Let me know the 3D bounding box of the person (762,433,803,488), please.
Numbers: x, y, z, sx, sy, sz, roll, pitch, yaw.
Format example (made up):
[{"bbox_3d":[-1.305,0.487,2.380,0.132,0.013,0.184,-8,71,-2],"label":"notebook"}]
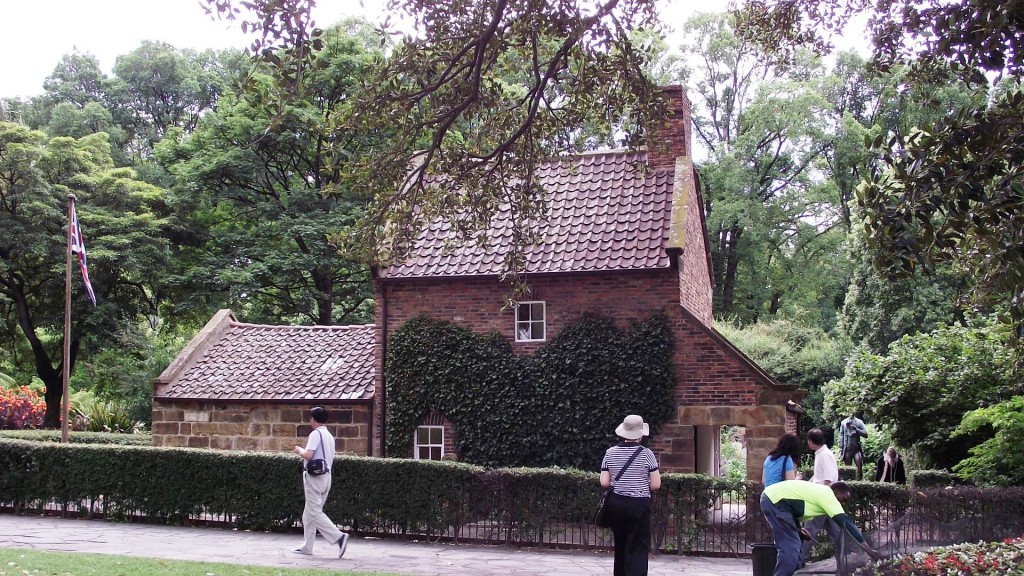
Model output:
[{"bbox_3d":[7.654,4.813,31.323,1.069,1.676,1.198,-6,12,-25],"label":"person"}]

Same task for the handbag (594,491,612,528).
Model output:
[{"bbox_3d":[2.423,5.956,29.911,0.324,0.926,0.724,2,-9,-6],"label":"handbag"}]

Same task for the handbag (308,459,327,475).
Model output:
[{"bbox_3d":[-5.724,5.238,32.628,0.648,0.621,0.386,0,-15,-9],"label":"handbag"}]

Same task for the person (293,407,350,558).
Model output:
[{"bbox_3d":[-5.706,5.699,32.678,1.394,4.293,0.877,2,-8,-12],"label":"person"}]

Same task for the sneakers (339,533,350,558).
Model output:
[{"bbox_3d":[-4.966,7.551,32.421,0.268,0.720,0.254,10,23,17],"label":"sneakers"}]

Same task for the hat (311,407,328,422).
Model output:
[{"bbox_3d":[-5.699,3.733,32.729,0.448,0.544,0.513,8,-9,-35],"label":"hat"}]
